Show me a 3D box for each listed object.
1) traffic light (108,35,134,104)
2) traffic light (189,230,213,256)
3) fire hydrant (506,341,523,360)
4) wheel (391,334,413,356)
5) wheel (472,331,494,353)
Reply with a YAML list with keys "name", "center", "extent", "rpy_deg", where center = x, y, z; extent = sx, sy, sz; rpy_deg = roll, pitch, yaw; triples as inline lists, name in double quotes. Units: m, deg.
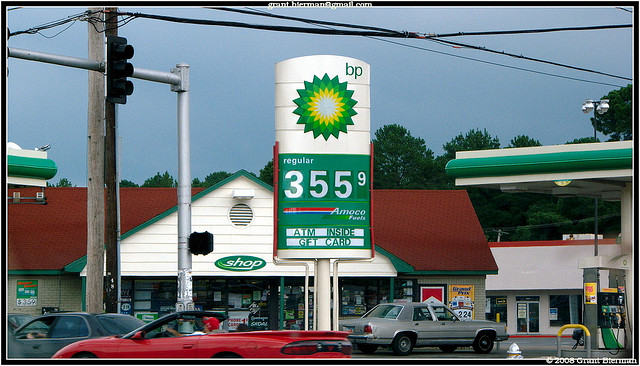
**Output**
- name: "traffic light"
  center: [-9.034, -5.221, 58.418]
  extent: [1.114, 3.252, 0.720]
  rpy_deg: [0, -13, -7]
- name: "traffic light"
  center: [-5.386, 2.733, 59.055]
  extent: [1.083, 1.024, 0.602]
  rpy_deg: [1, 2, 29]
- name: "fire hydrant"
  center: [8.853, 7.704, 58.365]
  extent: [0.678, 0.758, 1.083]
  rpy_deg: [-3, -12, 5]
- name: "wheel"
  center: [4.255, 8.380, 66.127]
  extent: [1.089, 1.122, 0.359]
  rpy_deg: [3, -13, -19]
- name: "wheel"
  center: [8.576, 8.391, 67.270]
  extent: [1.117, 1.059, 0.625]
  rpy_deg: [-1, -12, -2]
